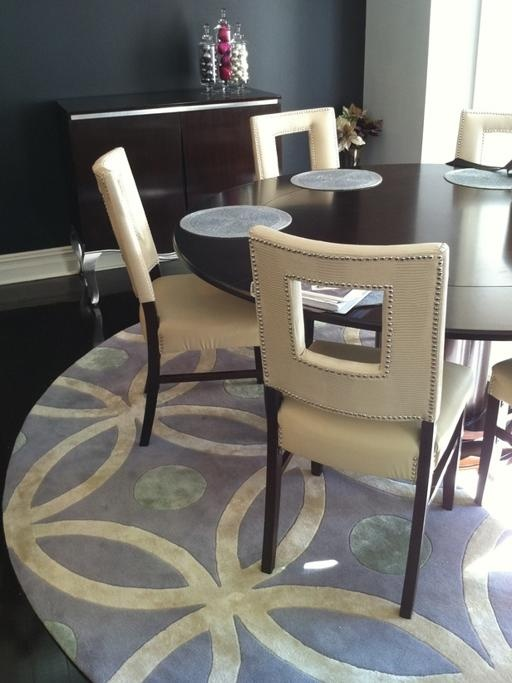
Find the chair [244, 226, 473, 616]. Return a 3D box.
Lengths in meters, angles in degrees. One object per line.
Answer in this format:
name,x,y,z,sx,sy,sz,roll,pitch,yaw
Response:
chair,0.212,0.130,1.266,0.436,0.877,0.491,11,30,28

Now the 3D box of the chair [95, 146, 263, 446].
chair,-0.223,-0.126,1.916,0.490,0.852,0.422,-8,26,-14
